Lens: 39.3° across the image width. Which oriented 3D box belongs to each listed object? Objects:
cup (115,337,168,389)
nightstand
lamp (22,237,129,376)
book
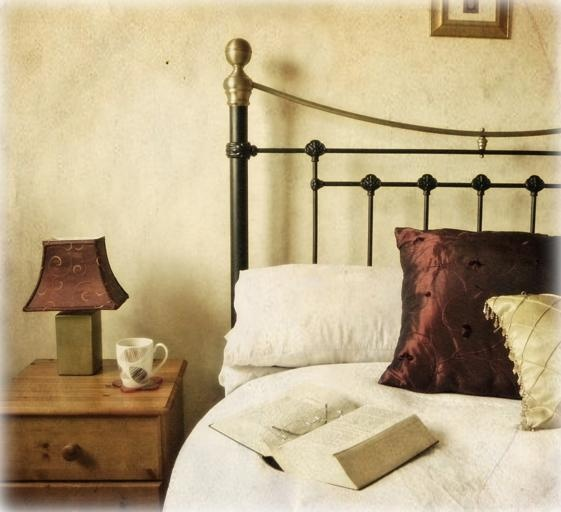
[{"bbox_3d":[-0.368,0.273,2.093,0.090,0.132,0.152,-3,-6,28],"label":"cup"},{"bbox_3d":[-0.464,0.473,1.954,0.335,0.402,0.302,0,0,0],"label":"nightstand"},{"bbox_3d":[-0.552,0.135,2.143,0.267,0.375,0.187,-1,3,-13],"label":"lamp"},{"bbox_3d":[0.086,0.384,1.698,0.444,0.145,0.281,2,4,42],"label":"book"}]
